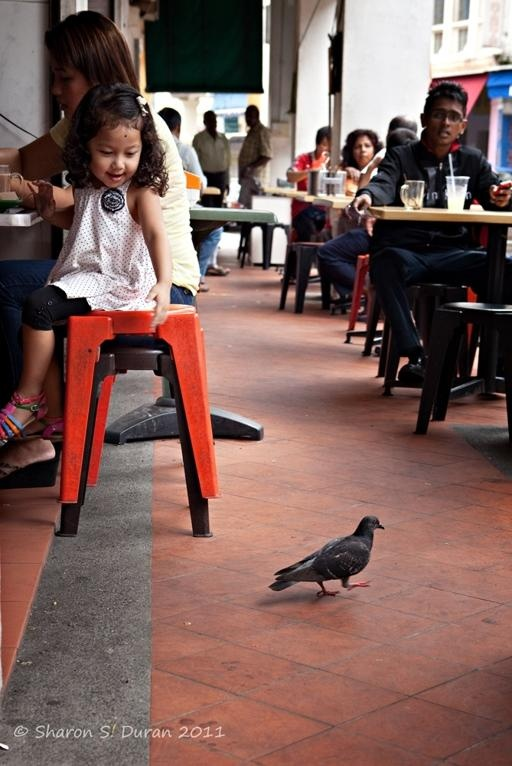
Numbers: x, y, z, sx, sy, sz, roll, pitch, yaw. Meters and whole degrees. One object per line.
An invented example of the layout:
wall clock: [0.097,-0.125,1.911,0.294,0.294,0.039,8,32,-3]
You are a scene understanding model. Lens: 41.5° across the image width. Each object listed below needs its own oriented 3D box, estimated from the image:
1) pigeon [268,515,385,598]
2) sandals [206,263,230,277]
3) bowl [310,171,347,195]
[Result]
pigeon: [0.171,0.415,1.620,0.352,0.200,0.115,-1,5,-32]
sandals: [-0.580,-1.665,10.002,0.411,0.177,0.135,0,41,-4]
bowl: [0.636,-1.821,6.225,0.354,0.217,0.249,-2,11,-9]
